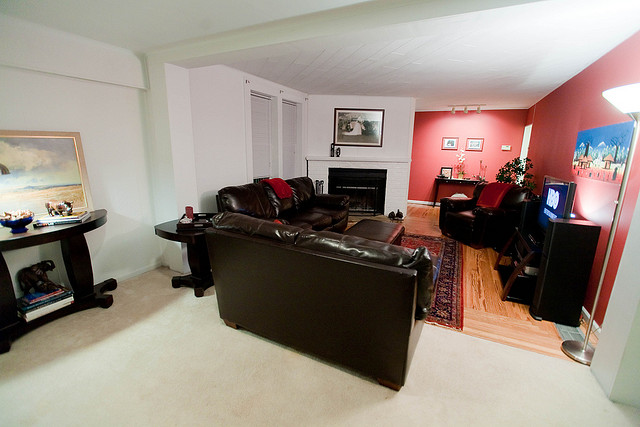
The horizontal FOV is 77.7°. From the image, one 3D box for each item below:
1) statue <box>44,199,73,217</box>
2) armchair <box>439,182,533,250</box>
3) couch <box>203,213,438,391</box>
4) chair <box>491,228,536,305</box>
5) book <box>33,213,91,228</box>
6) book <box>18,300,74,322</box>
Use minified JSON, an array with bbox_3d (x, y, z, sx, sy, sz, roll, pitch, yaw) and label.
[{"bbox_3d":[-2.747,-0.090,4.171,0.218,0.105,0.225,-6,31,-25],"label":"statue"},{"bbox_3d":[2.487,0.011,6.408,1.038,1.009,1.412,3,9,-2],"label":"armchair"},{"bbox_3d":[0.119,0.593,4.363,2.172,1.468,1.537,10,28,21],"label":"couch"},{"bbox_3d":[2.446,0.686,4.994,0.275,0.493,0.737,11,24,21],"label":"chair"},{"bbox_3d":[-2.659,0.080,4.092,0.500,0.081,0.163,-5,14,-32],"label":"book"},{"bbox_3d":[-2.830,1.018,4.160,0.433,0.120,0.024,-9,17,-43],"label":"book"}]
